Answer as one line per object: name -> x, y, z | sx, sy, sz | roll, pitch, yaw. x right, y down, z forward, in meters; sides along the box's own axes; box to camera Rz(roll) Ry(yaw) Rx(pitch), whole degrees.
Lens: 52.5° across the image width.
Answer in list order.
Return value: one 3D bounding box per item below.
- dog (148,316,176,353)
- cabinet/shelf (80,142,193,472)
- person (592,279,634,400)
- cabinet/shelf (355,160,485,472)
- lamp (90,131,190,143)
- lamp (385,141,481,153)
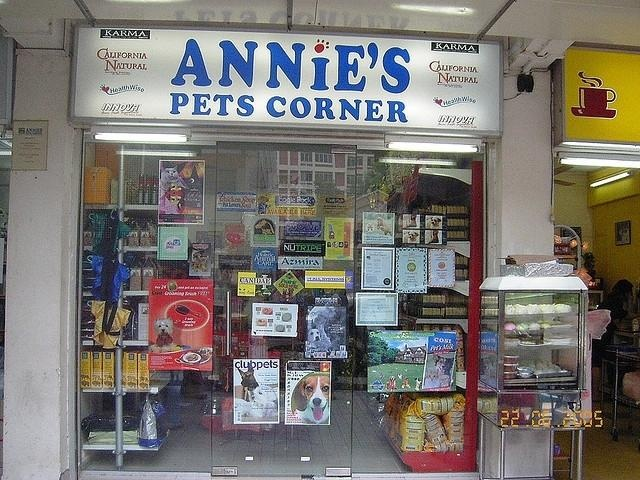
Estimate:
dog -> -1.628, 0.976, 6.658 | 0.256, 0.353, 0.250 | -3, 9, -19
cabinet/shelf -> -2.112, 0.960, 6.901 | 0.662, 2.269, 0.746 | -2, -8, 10
person -> 4.266, 1.385, 9.414 | 0.501, 1.456, 2.489 | -1, 2, 25
cabinet/shelf -> 1.360, 0.783, 6.644 | 0.817, 3.206, 0.259 | -2, 2, -28
lamp -> -1.812, -1.031, 6.548 | 0.939, 0.113, 0.161 | -2, 2, -4
lamp -> 1.158, -0.956, 6.651 | 0.930, 0.117, 0.150 | -1, 2, -2
